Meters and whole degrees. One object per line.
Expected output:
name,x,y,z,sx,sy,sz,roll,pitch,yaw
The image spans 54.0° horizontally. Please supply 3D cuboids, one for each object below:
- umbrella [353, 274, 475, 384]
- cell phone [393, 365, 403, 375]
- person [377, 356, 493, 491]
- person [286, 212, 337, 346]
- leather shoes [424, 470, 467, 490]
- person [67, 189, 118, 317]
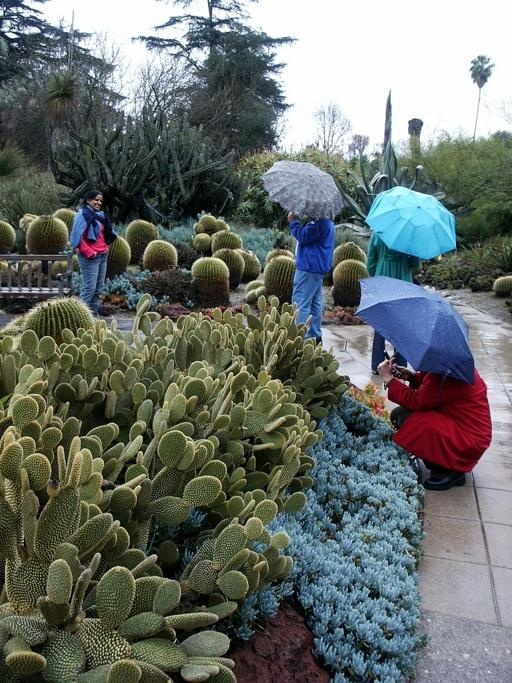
umbrella,1.041,-0.094,3.330,0.474,0.548,0.887,-1,14,-26
cell phone,1.002,0.192,3.511,0.038,0.128,0.033,-39,45,-4
person,1.261,0.382,3.414,0.634,1.029,0.701,-7,18,-10
person,0.619,-0.741,6.089,0.580,1.520,0.525,6,13,2
leather shoes,1.234,0.896,3.315,0.279,0.142,0.116,4,0,-12
person,-2.430,-1.263,7.397,0.522,1.854,0.791,6,13,3
